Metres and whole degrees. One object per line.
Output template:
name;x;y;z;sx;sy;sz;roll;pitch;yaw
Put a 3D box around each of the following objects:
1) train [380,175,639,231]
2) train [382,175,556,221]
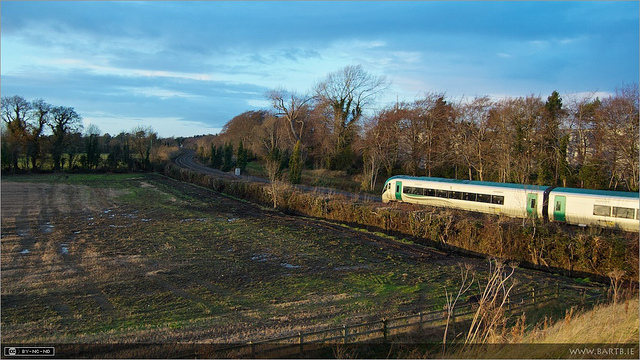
train;21.263;2.857;52.045;30.619;4.075;4.043;6;-3;34
train;17.143;2.392;53.936;20.753;4.393;4.036;6;3;37
